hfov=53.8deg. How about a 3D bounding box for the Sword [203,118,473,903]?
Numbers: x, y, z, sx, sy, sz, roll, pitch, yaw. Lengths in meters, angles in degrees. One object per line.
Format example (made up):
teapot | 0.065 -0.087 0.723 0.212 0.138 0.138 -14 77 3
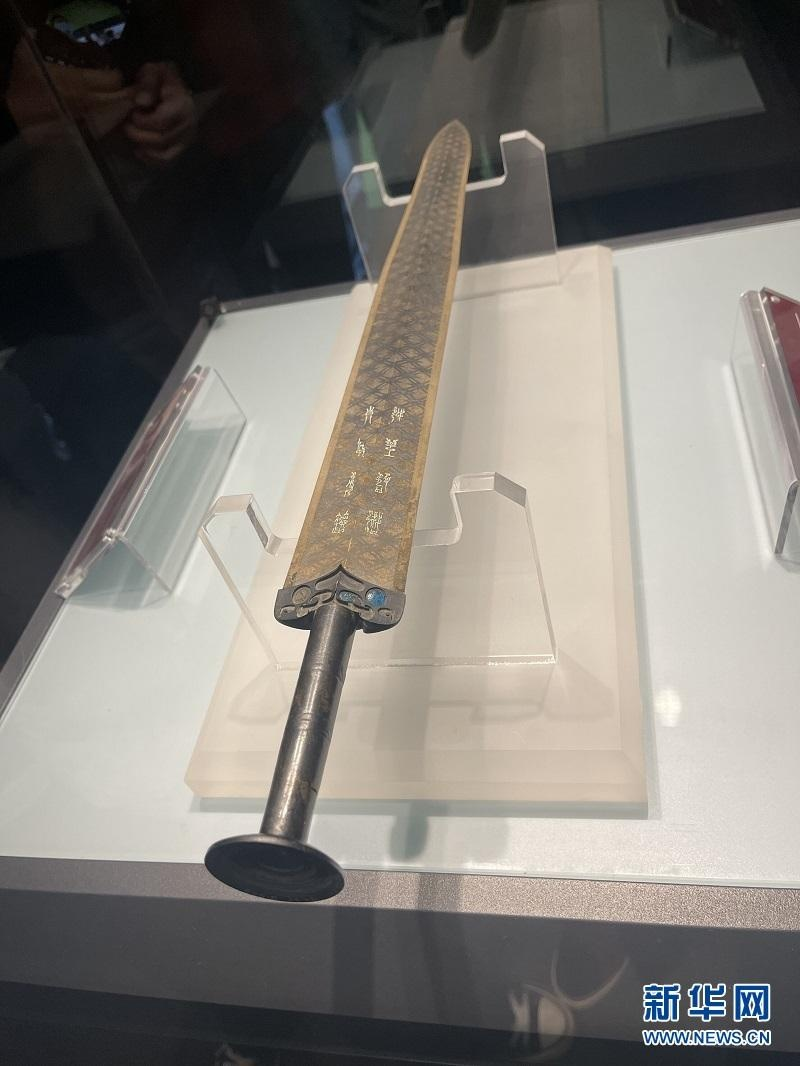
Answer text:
Sword | 0.009 -0.124 1.037 0.167 0.150 1.138 1 41 19
